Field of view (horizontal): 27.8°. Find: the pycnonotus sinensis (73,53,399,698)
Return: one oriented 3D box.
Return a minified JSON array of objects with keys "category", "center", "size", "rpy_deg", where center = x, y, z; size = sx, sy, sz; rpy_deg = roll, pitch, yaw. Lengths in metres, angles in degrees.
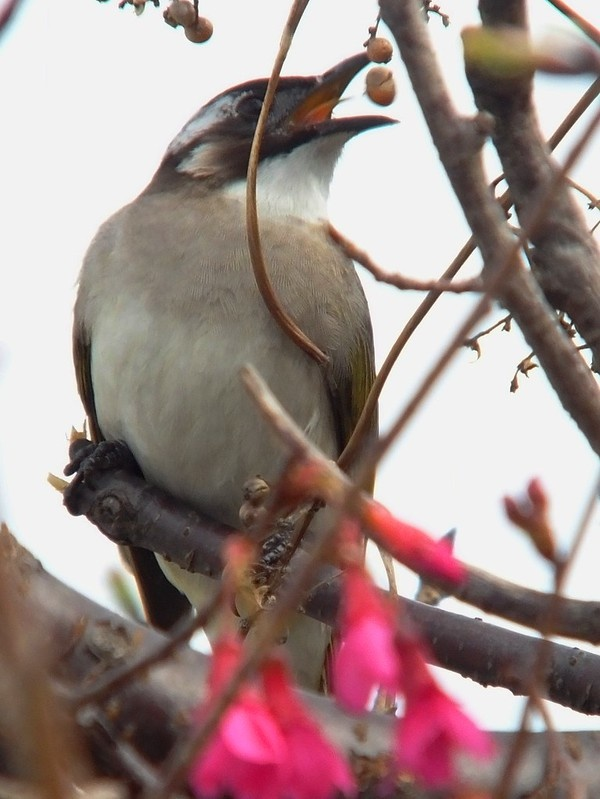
[{"category":"pycnonotus sinensis","center":[-0.190,-0.054,3.047],"size":[0.686,1.471,0.996],"rpy_deg":[10,-9,-19]}]
